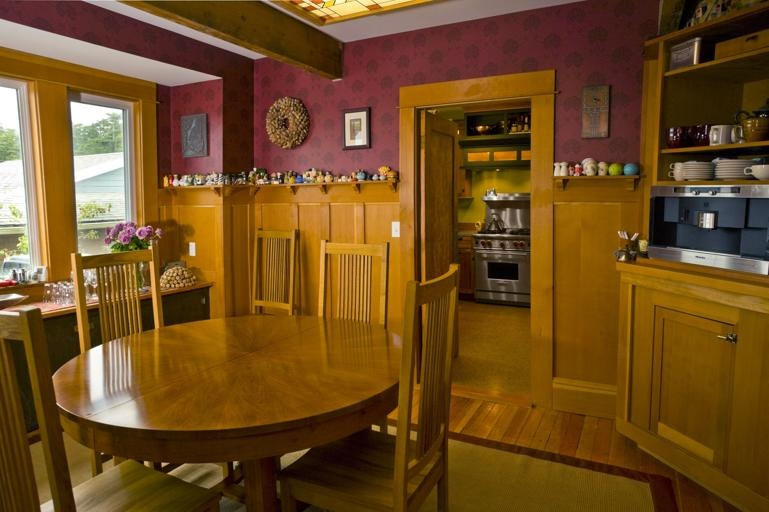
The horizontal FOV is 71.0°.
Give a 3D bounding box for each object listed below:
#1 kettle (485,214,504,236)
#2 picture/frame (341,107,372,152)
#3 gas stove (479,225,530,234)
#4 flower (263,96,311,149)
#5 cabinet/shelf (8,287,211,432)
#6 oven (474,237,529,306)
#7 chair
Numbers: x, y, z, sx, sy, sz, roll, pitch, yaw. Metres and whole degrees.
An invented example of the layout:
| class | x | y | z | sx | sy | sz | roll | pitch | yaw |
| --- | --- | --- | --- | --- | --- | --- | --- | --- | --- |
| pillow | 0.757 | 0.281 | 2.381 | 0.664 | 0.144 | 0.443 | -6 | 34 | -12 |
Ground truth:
| class | x | y | z | sx | sy | sz | roll | pitch | yaw |
| --- | --- | --- | --- | --- | --- | --- | --- | --- | --- |
| kettle | 1.616 | -0.468 | 7.842 | 0.316 | 0.270 | 0.268 | 1 | 0 | -4 |
| picture/frame | -0.249 | -1.181 | 4.983 | 0.457 | 0.509 | 0.045 | 2 | 3 | 32 |
| gas stove | 1.722 | -0.368 | 7.662 | 0.651 | 0.084 | 0.529 | -1 | 7 | 15 |
| flower | -0.949 | -1.310 | 5.280 | 0.489 | 0.481 | 0.173 | 4 | 7 | 27 |
| cabinet/shelf | -1.606 | 0.590 | 3.077 | 0.392 | 0.640 | 1.185 | 0 | 5 | 14 |
| oven | 1.719 | 0.123 | 7.725 | 0.821 | 0.963 | 0.717 | 2 | 9 | 18 |
| chair | -0.687 | 0.778 | 2.859 | 2.106 | 1.329 | 1.339 | -2 | 7 | 7 |
